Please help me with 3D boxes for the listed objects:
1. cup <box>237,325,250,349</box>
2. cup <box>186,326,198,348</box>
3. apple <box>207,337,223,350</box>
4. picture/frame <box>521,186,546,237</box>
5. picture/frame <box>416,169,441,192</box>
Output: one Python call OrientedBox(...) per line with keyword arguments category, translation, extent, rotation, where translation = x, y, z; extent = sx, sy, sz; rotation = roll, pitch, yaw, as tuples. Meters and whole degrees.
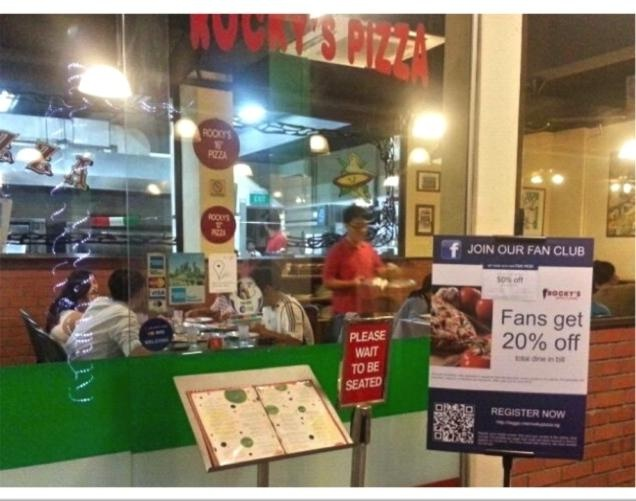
OrientedBox(category="cup", translation=(-0.350, 0.419, 2.448), extent=(0.087, 0.139, 0.088), rotation=(-1, -4, 0))
OrientedBox(category="cup", translation=(-0.581, 0.403, 2.375), extent=(0.052, 0.103, 0.022), rotation=(-3, 3, -17))
OrientedBox(category="apple", translation=(-0.483, 0.436, 2.394), extent=(0.058, 0.055, 0.059), rotation=(5, -4, 32))
OrientedBox(category="picture/frame", translation=(1.125, -0.209, 2.660), extent=(0.167, 0.253, 0.038), rotation=(-4, 3, -30))
OrientedBox(category="picture/frame", translation=(0.582, -0.381, 2.717), extent=(0.118, 0.102, 0.017), rotation=(1, -1, -6))
